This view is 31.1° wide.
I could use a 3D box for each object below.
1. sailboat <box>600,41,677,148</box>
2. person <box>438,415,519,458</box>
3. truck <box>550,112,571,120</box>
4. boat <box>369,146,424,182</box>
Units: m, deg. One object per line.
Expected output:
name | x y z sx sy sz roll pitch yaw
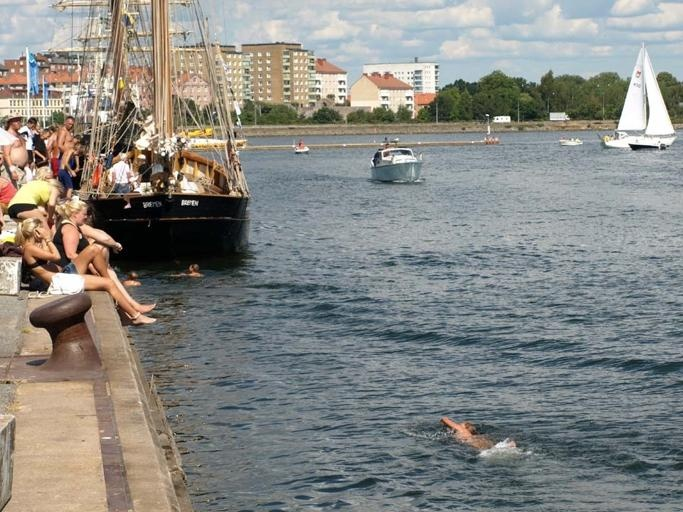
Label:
sailboat | 32.691 -16.800 132.100 5.906 10.861 15.515 4 8 12
person | 2.461 3.350 22.233 1.162 0.314 0.602 13 25 39
truck | 45.818 -29.555 258.668 5.421 2.002 1.845 0 7 -1
boat | 3.517 -5.912 79.955 2.500 2.218 4.314 0 7 -10
